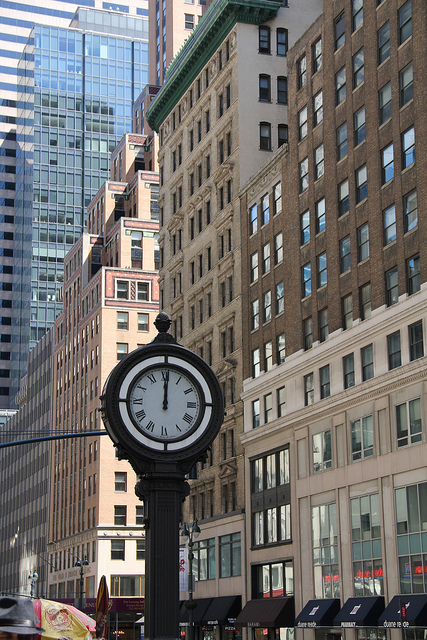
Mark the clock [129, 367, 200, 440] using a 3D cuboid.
[{"bbox_3d":[-0.865,1.421,22.688,0.834,1.092,0.068,9,-22,-11],"label":"clock"}]

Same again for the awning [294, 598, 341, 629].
[{"bbox_3d":[4.437,12.344,57.394,0.740,0.827,1.612,-10,-22,-33],"label":"awning"}]

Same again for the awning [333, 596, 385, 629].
[{"bbox_3d":[5.662,11.488,52.879,1.250,1.423,3.143,6,-7,-20],"label":"awning"}]

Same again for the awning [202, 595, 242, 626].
[{"bbox_3d":[0.480,15.020,70.480,1.423,1.449,4.196,-10,-10,-20],"label":"awning"}]
